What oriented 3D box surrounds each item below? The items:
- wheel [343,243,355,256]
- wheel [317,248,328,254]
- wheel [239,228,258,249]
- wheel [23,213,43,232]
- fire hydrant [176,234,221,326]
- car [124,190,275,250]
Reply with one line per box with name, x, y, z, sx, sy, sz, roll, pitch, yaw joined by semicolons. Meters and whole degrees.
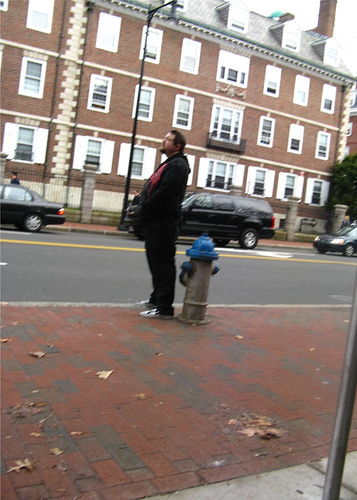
wheel;8.623;-0.062;21.343;0.656;0.604;0.227;-7;9;-34
wheel;7.458;0.069;21.805;0.356;0.245;1.416;7;2;19
wheel;3.082;-0.540;18.593;0.980;0.899;0.335;-3;6;-35
wheel;-5.299;-1.026;15.273;0.721;0.662;0.248;-2;8;-34
fire hydrant;0.239;0.335;4.998;0.443;0.921;0.462;7;2;9
car;1.315;-1.421;18.779;5.989;2.096;2.805;6;1;-23
